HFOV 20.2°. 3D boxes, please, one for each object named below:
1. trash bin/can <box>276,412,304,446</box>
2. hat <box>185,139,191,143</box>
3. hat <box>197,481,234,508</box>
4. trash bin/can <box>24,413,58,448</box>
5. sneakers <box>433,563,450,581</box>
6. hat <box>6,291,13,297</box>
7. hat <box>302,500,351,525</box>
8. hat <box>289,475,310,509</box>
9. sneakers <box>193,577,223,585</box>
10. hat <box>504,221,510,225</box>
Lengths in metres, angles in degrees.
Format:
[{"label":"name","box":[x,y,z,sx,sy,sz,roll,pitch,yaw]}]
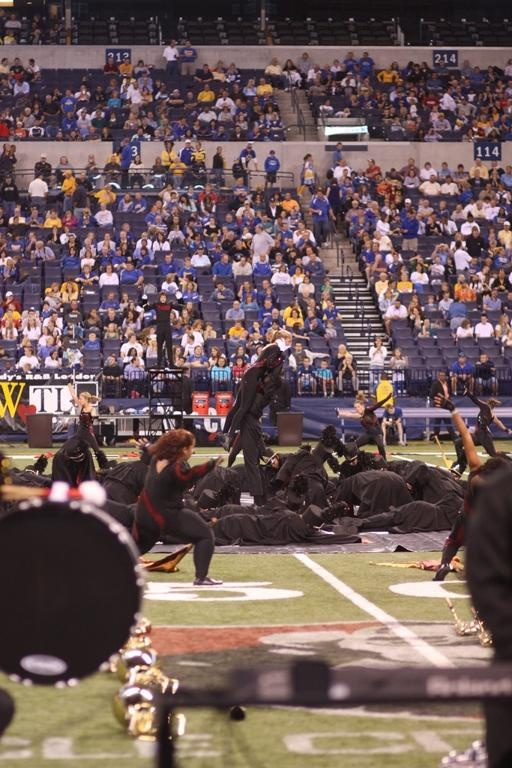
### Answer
[{"label":"trash bin/can","box":[0.505,0.717,23.216,0.560,0.640,0.483,0,-6,-3]},{"label":"hat","box":[-1.658,-5.854,34.637,0.160,0.075,0.236,0,-1,-3]},{"label":"hat","box":[-0.401,1.068,13.912,0.443,0.216,0.227,-7,10,-34]},{"label":"trash bin/can","box":[-3.518,0.776,23.386,0.510,0.693,0.521,-2,8,-9]},{"label":"sneakers","box":[1.376,1.390,10.616,0.052,0.141,0.150,25,-33,2]},{"label":"hat","box":[-4.693,-1.707,27.138,0.116,0.090,0.185,-6,13,2]},{"label":"hat","box":[0.662,1.222,13.611,0.312,0.246,0.773,1,9,16]},{"label":"hat","box":[0.414,1.037,13.748,0.092,0.297,0.223,9,-8,-35]},{"label":"sneakers","box":[-0.353,1.425,10.327,0.218,0.082,0.072,-1,-5,-1]},{"label":"hat","box":[5.761,-3.670,32.870,0.164,0.080,0.254,0,-5,11]}]
